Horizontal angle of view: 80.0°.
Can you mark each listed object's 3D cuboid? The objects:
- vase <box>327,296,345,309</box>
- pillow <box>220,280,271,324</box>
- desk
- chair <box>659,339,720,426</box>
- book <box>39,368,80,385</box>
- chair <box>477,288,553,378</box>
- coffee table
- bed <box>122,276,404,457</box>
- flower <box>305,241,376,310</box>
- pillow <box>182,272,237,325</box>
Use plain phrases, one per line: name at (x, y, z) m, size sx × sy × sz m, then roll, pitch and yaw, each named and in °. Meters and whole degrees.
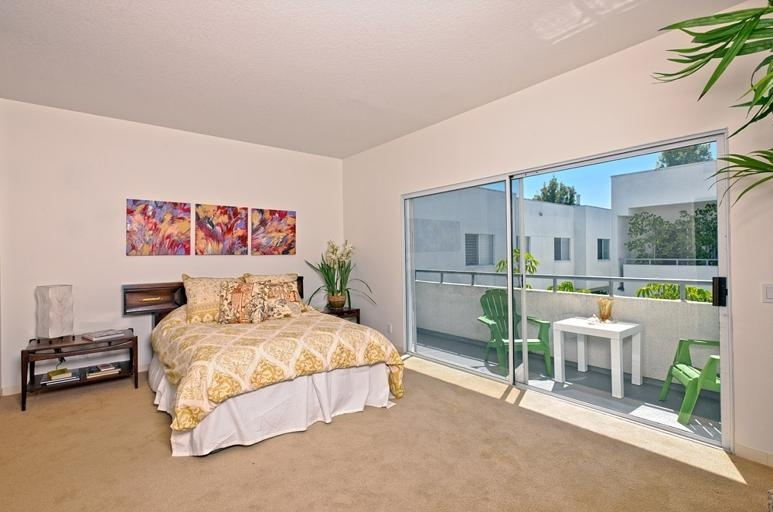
vase at (-0.744, 0.687, 6.768) m, size 0.211 × 0.130 × 0.211 m, roll -8°, pitch -11°, yaw 35°
pillow at (-1.681, 0.546, 5.361) m, size 0.497 × 0.468 × 0.150 m, roll -1°, pitch -23°, yaw 2°
desk at (-3.453, 1.048, 5.170) m, size 1.421 × 0.858 × 0.738 m, roll 0°, pitch -1°, yaw -39°
chair at (2.916, 1.156, 4.303) m, size 0.510 × 0.627 × 0.484 m, roll -1°, pitch 13°, yaw 2°
book at (-3.706, 1.362, 5.200) m, size 0.365 × 0.134 × 0.383 m, roll 0°, pitch -1°, yaw -36°
chair at (1.425, 0.886, 5.341) m, size 0.724 × 0.817 × 0.912 m, roll -3°, pitch 4°, yaw -16°
coffee table at (2.275, 1.038, 4.907) m, size 0.571 × 0.688 × 0.790 m, roll -7°, pitch 5°, yaw -37°
bed at (-1.596, 0.959, 5.529) m, size 2.514 × 1.109 × 2.834 m, roll -4°, pitch 9°, yaw -38°
flower at (-0.720, 0.322, 7.080) m, size 0.990 × 1.002 × 1.121 m, roll -8°, pitch 14°, yaw -40°
pillow at (-2.179, 0.572, 5.720) m, size 0.770 × 0.825 × 0.254 m, roll -8°, pitch 24°, yaw -44°
